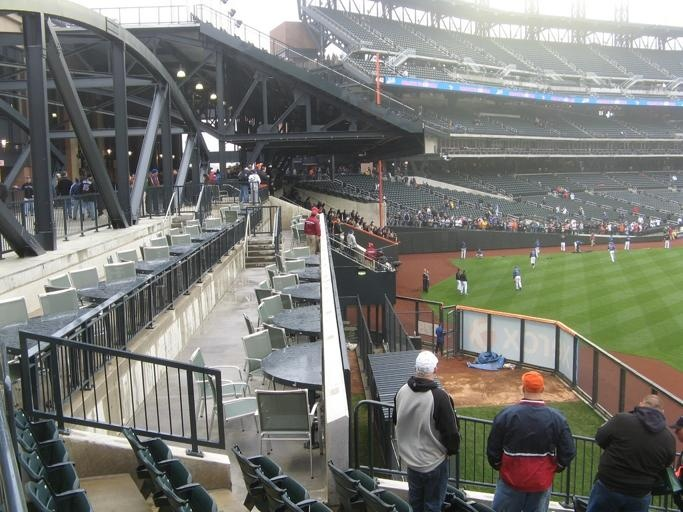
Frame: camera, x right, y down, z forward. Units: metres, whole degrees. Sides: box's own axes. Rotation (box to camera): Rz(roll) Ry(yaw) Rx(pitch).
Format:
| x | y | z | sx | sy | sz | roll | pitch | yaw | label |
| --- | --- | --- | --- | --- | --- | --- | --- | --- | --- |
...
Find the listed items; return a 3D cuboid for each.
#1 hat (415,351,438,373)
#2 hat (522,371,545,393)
| x | y | z | sx | sy | sz | roll | pitch | yaw | label |
| --- | --- | --- | --- | --- | --- | --- | --- | --- | --- |
| 1.025 | 1.284 | 8.721 | 0.217 | 0.249 | 0.297 | 3 | 3 | 12 | hat |
| 2.326 | 1.526 | 8.761 | 0.222 | 0.272 | 0.396 | 4 | 3 | 20 | hat |
